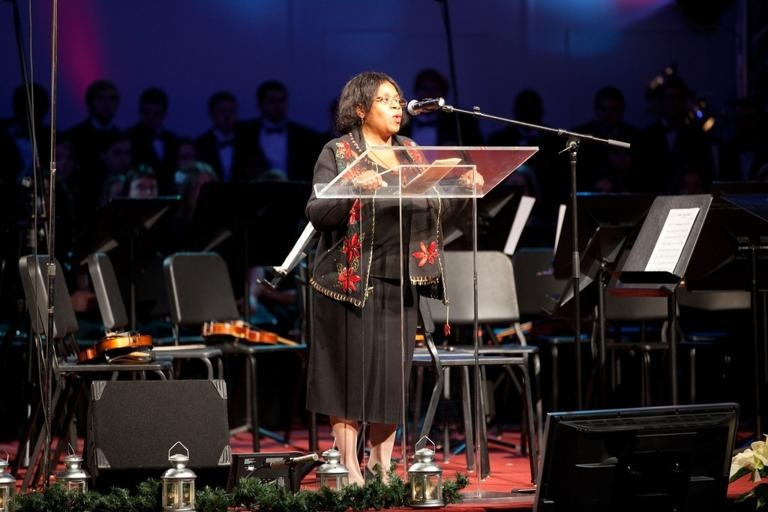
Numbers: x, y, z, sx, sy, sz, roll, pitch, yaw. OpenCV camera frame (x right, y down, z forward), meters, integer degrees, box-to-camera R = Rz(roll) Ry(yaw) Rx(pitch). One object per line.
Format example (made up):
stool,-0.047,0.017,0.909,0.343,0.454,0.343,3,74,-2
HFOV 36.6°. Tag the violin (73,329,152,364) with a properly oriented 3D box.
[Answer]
violin,-1.642,0.574,7.064,0.347,0.130,0.217,-9,-5,16

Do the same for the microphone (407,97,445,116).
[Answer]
microphone,0.208,-0.828,6.320,0.233,0.081,0.089,-5,-18,43

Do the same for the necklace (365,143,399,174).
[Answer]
necklace,-0.003,-0.517,6.116,0.045,0.143,0.159,-24,-1,44

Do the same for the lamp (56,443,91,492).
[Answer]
lamp,-1.650,1.153,6.143,0.168,0.299,0.165,-1,-6,12

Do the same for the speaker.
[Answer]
speaker,-1.230,0.837,6.369,0.967,0.637,0.542,0,-6,-4

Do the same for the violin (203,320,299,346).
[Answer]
violin,-0.935,0.556,8.107,0.612,0.098,0.244,11,-9,-14
